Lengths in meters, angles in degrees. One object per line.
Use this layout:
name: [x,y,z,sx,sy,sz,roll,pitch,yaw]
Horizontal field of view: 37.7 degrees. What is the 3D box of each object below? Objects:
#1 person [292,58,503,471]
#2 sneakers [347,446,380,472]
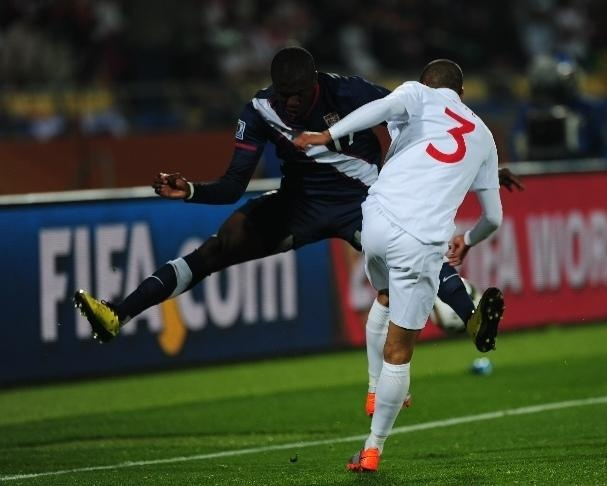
person: [0.733,0.156,5.914,1.160,2.733,0.598,-2,6,-6]
sneakers: [0.415,1.433,5.865,0.110,0.132,0.253,14,-15,-26]
